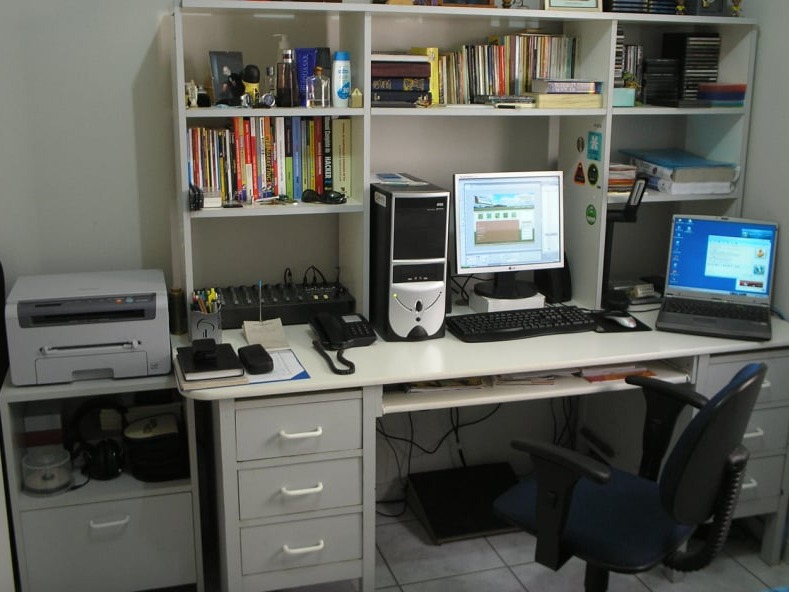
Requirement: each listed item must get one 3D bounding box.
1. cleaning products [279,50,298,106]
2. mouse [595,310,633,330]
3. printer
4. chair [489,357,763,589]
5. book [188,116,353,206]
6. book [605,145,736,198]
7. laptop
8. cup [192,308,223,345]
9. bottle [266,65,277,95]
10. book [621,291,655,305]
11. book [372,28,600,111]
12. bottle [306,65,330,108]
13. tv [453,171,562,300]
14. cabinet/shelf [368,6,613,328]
[{"bbox_3d":[-0.445,-0.891,2.805,0.083,0.220,0.082,-3,16,-23],"label":"cleaning products"},{"bbox_3d":[0.979,0.103,2.956,0.073,0.037,0.122,0,17,-19],"label":"mouse"},{"bbox_3d":[-1.155,0.143,2.550,0.550,0.363,0.406,-3,12,-15],"label":"printer"},{"bbox_3d":[0.812,0.646,2.374,0.781,0.847,0.536,-13,21,-24],"label":"chair"},{"bbox_3d":[-0.544,-0.570,2.842,0.365,0.351,0.124,-3,13,-11],"label":"book"},{"bbox_3d":[1.386,-0.585,3.218,0.297,0.111,0.302,-1,20,-14],"label":"book"},{"bbox_3d":[1.446,-0.102,3.030,0.510,0.485,0.577,9,27,19],"label":"laptop"},{"bbox_3d":[-0.758,0.121,2.729,0.131,0.142,0.102,-3,13,-16],"label":"cup"},{"bbox_3d":[-0.520,-0.919,2.881,0.050,0.111,0.147,-7,19,-8],"label":"bottle"},{"bbox_3d":[1.200,0.019,3.282,0.099,0.024,0.093,2,12,5],"label":"book"},{"bbox_3d":[0.384,-1.007,3.033,1.029,0.289,0.289,-8,19,-10],"label":"book"},{"bbox_3d":[-0.313,-0.862,2.808,0.109,0.155,0.057,-9,19,-15],"label":"bottle"},{"bbox_3d":[0.525,-0.290,3.094,0.509,0.568,0.305,-4,13,-12],"label":"tv"},{"bbox_3d":[0.422,-0.590,3.023,1.259,1.574,0.526,-3,15,-15],"label":"cabinet/shelf"}]
